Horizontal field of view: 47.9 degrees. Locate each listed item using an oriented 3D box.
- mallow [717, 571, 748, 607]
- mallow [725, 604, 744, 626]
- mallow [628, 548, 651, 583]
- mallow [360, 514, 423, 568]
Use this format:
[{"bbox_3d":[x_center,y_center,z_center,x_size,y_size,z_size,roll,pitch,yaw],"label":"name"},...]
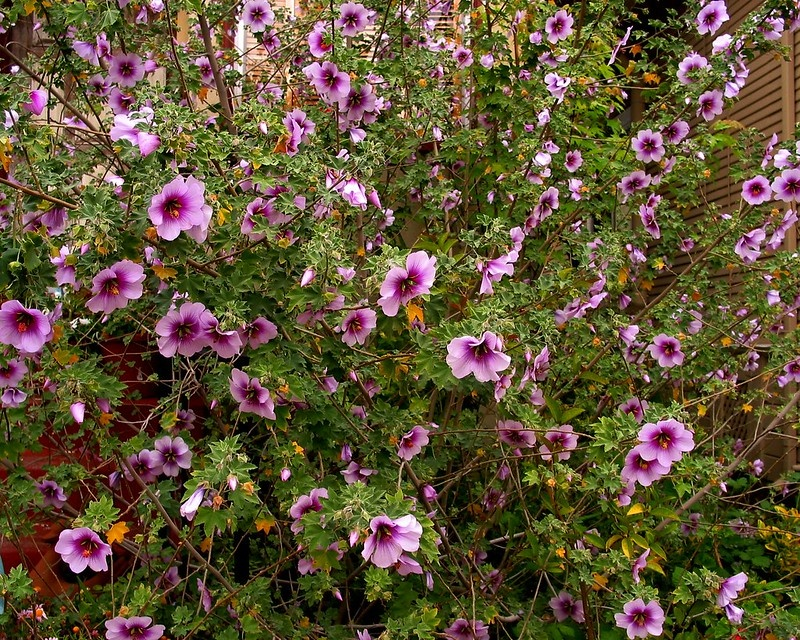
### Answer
[{"bbox_3d":[1.354,1.100,3.692,0.126,0.155,0.055,-14,44,-36],"label":"mallow"},{"bbox_3d":[1.371,1.211,3.705,0.058,0.100,0.049,-39,97,-7],"label":"mallow"},{"bbox_3d":[0.989,1.017,3.729,0.061,0.132,0.122,17,21,12],"label":"mallow"},{"bbox_3d":[-0.030,0.783,3.098,0.198,0.267,0.163,7,46,-2],"label":"mallow"}]
